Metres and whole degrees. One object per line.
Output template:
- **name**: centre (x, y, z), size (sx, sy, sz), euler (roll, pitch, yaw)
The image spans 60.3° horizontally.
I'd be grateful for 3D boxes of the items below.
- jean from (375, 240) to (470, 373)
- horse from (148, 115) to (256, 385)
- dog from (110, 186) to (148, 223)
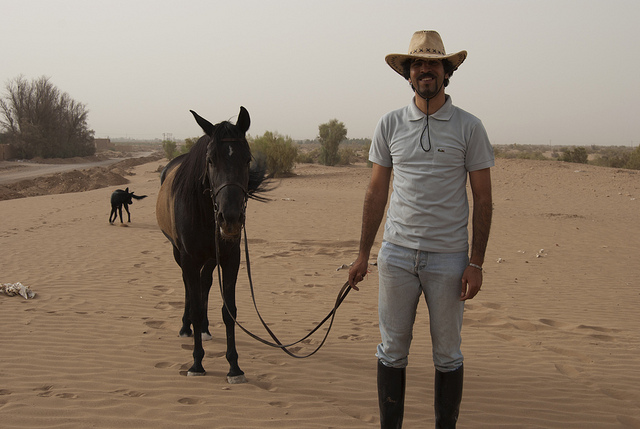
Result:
- **jean**: centre (1.285, 1.171, 7.039), size (1.137, 1.595, 0.400), euler (3, 14, 9)
- **horse**: centre (-1.990, 0.335, 9.422), size (1.372, 4.109, 3.398), euler (-4, 15, -18)
- **dog**: centre (-6.803, -0.349, 19.206), size (1.710, 1.000, 0.455), euler (-2, 1, 26)
